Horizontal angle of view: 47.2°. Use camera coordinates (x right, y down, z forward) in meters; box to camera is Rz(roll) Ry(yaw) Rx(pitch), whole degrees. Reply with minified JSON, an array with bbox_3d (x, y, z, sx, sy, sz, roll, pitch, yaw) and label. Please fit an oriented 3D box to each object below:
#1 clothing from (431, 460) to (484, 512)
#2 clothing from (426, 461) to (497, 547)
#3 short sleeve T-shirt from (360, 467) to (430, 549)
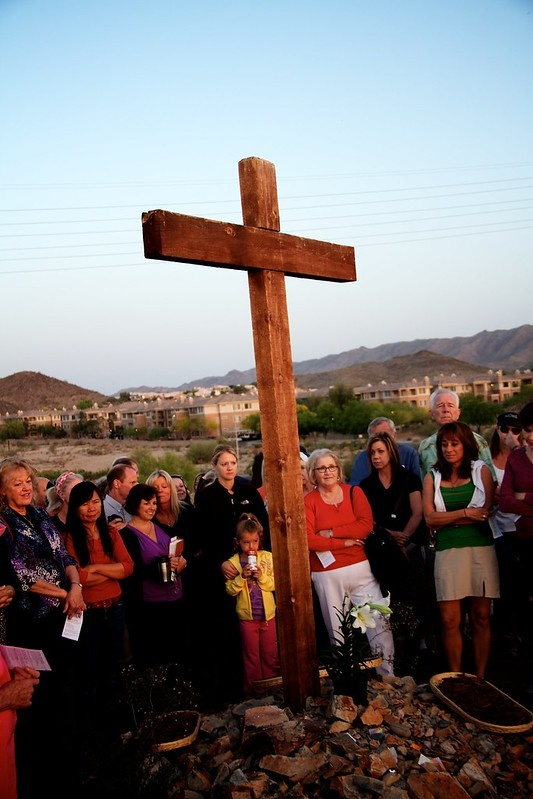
[{"bbox_3d":[1.369,0.609,4.317,0.274,0.193,0.351,-5,43,12],"label":"clothing"},{"bbox_3d":[1.481,0.633,4.438,0.331,0.306,0.529,4,42,30],"label":"clothing"},{"bbox_3d":[1.106,0.836,5.048,0.626,0.746,0.414,-4,2,30],"label":"short sleeve T-shirt"}]
